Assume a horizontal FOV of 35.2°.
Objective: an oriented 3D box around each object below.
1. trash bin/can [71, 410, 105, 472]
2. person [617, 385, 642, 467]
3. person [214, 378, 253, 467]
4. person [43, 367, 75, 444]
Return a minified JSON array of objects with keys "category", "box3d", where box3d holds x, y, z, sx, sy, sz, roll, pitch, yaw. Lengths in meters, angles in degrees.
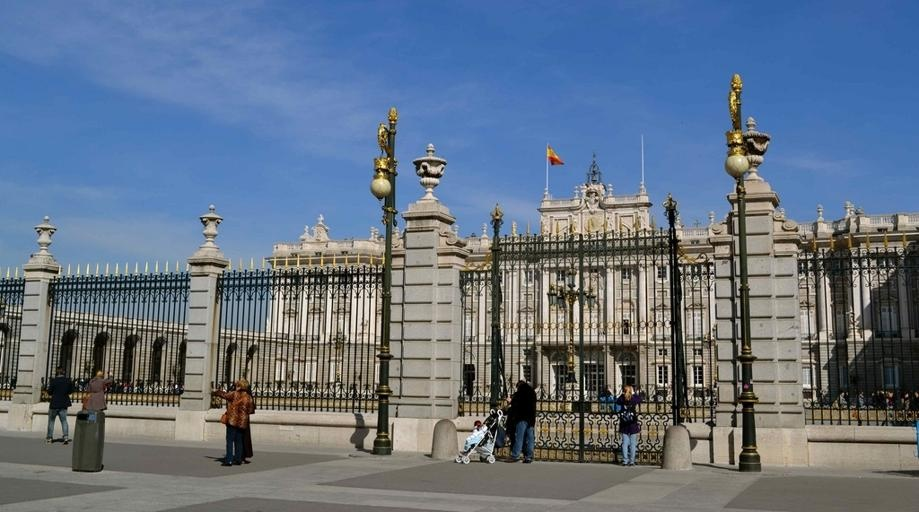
[{"category":"trash bin/can","box3d":[-12.970,6.531,50.626,0.995,2.128,0.683,3,-10,-13]},{"category":"person","box3d":[6.047,6.203,52.743,0.773,2.944,0.732,-2,-11,13]},{"category":"person","box3d":[-8.036,6.027,51.890,1.114,3.050,0.978,1,-10,0]},{"category":"person","box3d":[-15.349,5.832,56.071,1.042,2.891,1.030,4,-3,32]}]
